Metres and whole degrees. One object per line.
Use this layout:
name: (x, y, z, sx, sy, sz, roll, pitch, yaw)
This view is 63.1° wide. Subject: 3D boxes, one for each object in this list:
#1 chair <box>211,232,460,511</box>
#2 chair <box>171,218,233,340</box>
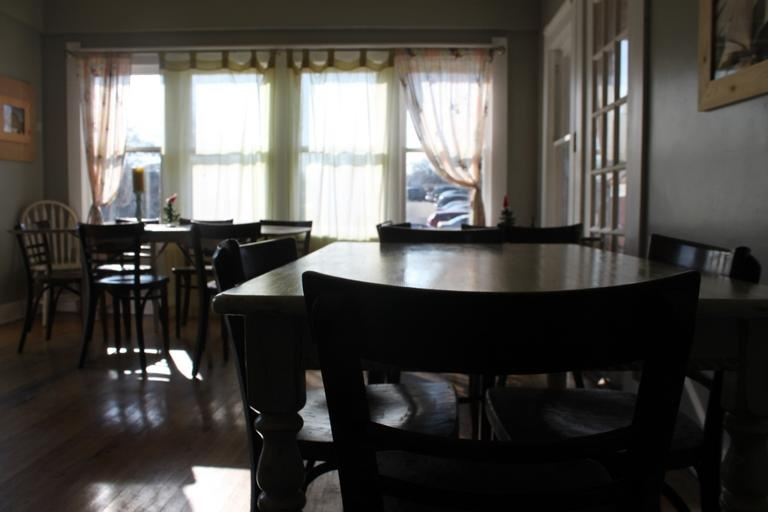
chair: (-0.140, 0.327, 2.960, 1.027, 1.656, 0.933, -2, 4, -3)
chair: (-1.483, 0.163, 5.092, 0.510, 0.842, 0.557, 1, 5, -21)
